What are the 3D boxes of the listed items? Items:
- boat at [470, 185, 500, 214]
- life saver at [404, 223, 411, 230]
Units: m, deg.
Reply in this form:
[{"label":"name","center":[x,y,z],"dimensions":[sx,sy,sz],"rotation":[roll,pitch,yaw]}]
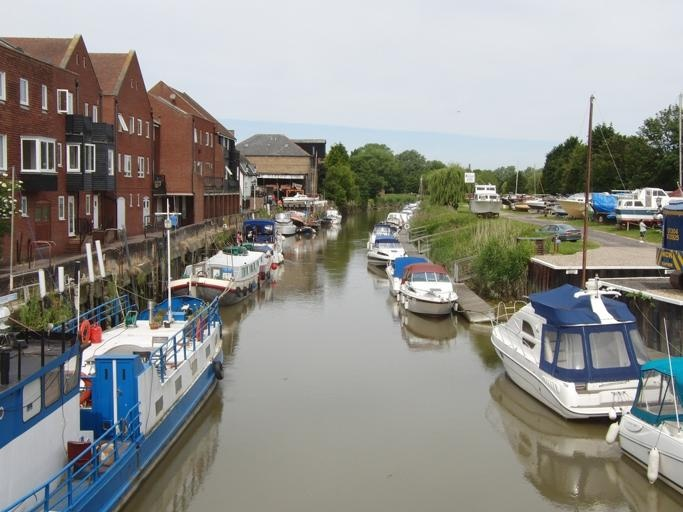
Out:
[{"label":"boat","center":[14.778,-5.681,65.814],"dimensions":[2.665,2.790,5.410],"rotation":[1,13,9]},{"label":"life saver","center":[7.876,-3.645,76.782],"dimensions":[0.694,0.282,1.075],"rotation":[-2,10,-1]}]
